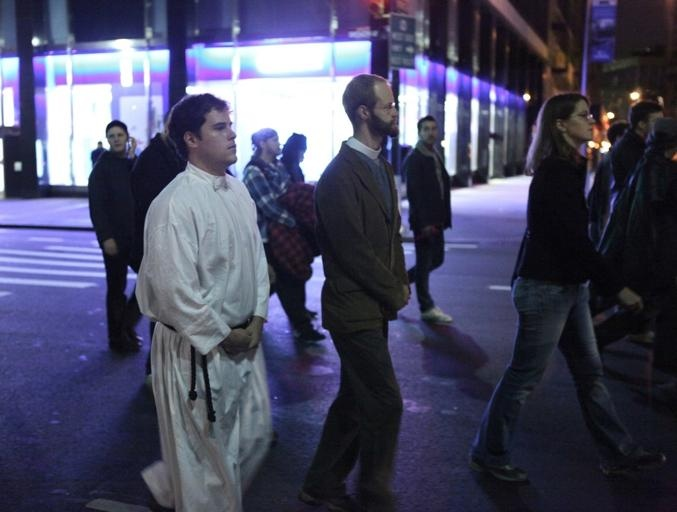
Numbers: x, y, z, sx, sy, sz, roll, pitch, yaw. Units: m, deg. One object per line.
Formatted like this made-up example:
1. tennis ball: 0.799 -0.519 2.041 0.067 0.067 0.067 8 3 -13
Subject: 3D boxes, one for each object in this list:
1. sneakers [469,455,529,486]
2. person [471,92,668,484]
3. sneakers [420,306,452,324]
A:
1. sneakers: 1.117 1.471 4.530 0.389 0.175 0.135 2 2 21
2. person: 1.489 0.215 4.375 1.097 2.580 0.441 2 9 11
3. sneakers: 1.249 0.760 8.369 0.465 0.208 0.157 -2 5 18
